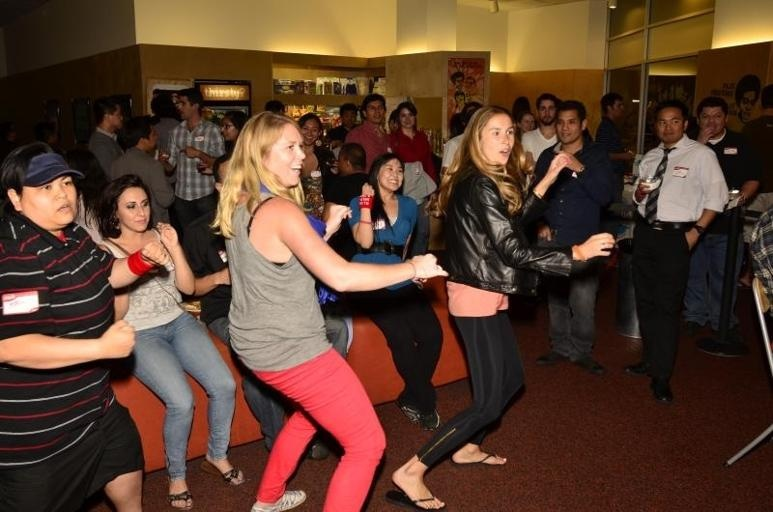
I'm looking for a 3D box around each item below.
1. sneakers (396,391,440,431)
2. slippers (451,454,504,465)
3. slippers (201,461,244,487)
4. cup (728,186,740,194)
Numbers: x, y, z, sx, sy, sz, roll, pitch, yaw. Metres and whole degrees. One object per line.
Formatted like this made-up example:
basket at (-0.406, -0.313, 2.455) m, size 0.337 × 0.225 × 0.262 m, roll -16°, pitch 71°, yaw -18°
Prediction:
sneakers at (0.239, 1.234, 4.047) m, size 0.329 × 0.200 × 0.078 m, roll 50°, pitch 28°, yaw 20°
slippers at (0.623, 1.425, 3.645) m, size 0.403 × 0.084 × 0.126 m, roll -1°, pitch -7°, yaw -2°
slippers at (-1.122, 1.463, 3.522) m, size 0.258 × 0.067 × 0.141 m, roll 28°, pitch 14°, yaw 6°
cup at (3.402, -0.647, 5.068) m, size 0.151 × 0.069 × 0.205 m, roll 6°, pitch 10°, yaw 40°
